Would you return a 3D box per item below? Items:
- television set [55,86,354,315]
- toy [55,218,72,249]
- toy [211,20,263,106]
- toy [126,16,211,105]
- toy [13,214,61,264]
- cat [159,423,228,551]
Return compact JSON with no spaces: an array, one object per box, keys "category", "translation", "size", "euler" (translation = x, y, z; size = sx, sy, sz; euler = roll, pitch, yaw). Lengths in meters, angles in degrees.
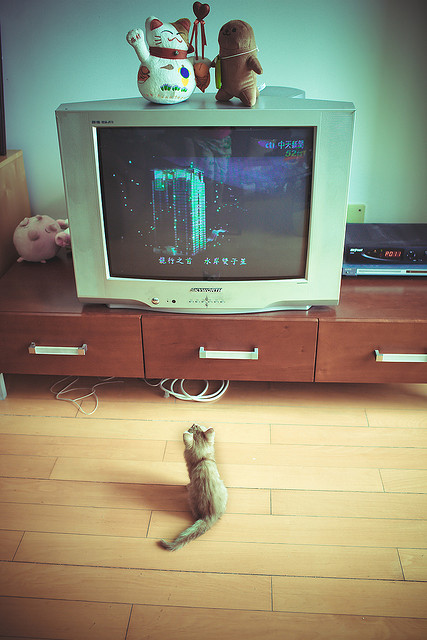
[{"category":"television set","translation":[0.000,-0.255,1.778],"size":[1.023,0.726,0.570],"euler":[1,35,0]},{"category":"toy","translation":[-0.551,-0.329,1.922],"size":[0.047,0.124,0.098],"euler":[-7,-9,-13]},{"category":"toy","translation":[0.057,-0.659,1.350],"size":[0.128,0.200,0.133],"euler":[-1,24,0]},{"category":"toy","translation":[-0.125,-0.671,1.365],"size":[0.220,0.204,0.129],"euler":[-13,33,-28]},{"category":"toy","translation":[-0.652,-0.295,1.943],"size":[0.173,0.162,0.158],"euler":[-1,23,-1]},{"category":"cat","translation":[-0.047,0.426,1.348],"size":[0.147,0.294,0.158],"euler":[-3,-21,1]}]
